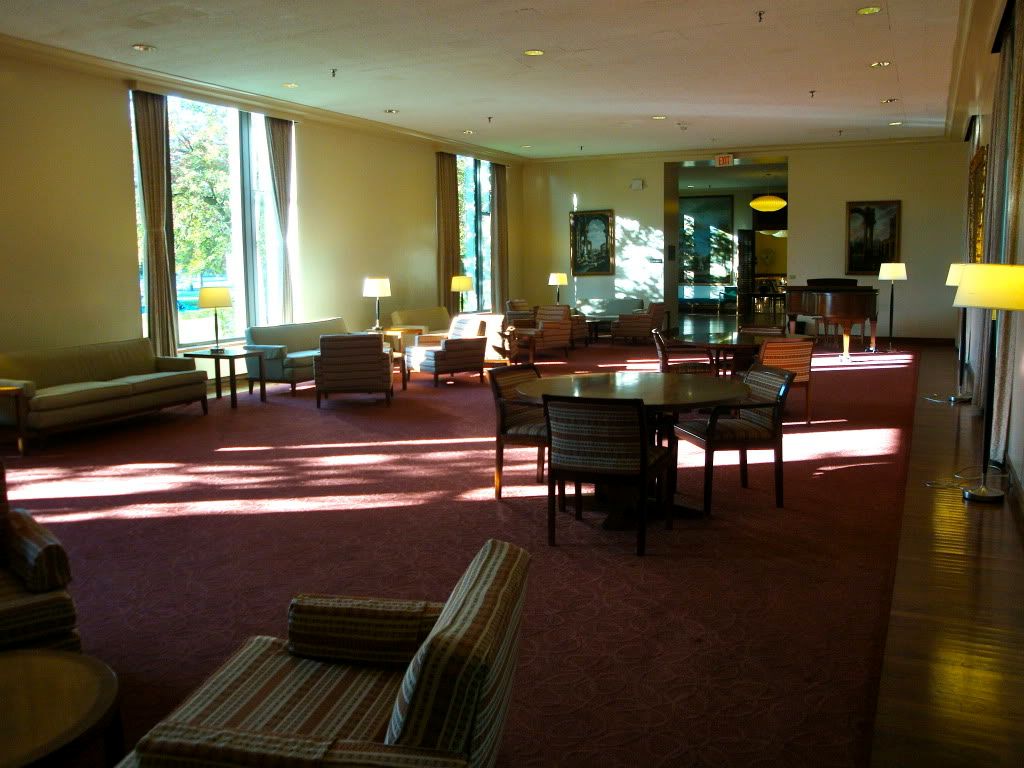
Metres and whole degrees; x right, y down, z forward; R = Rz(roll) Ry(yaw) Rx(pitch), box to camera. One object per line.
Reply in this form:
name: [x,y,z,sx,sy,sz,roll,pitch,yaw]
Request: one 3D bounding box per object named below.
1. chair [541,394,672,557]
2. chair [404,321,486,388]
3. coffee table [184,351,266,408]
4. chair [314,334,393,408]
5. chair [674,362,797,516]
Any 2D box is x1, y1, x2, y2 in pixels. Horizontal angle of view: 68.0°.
chair: [0.596,0.508,4.784,0.717,0.911,0.806,2,5,30]
chair: [-0.988,-0.510,11.171,0.919,0.900,0.919,-6,8,-38]
coffee table: [-3.552,-0.243,9.577,1.027,0.855,0.765,2,4,29]
chair: [-2.014,-0.200,9.676,0.937,0.867,0.964,0,2,-11]
chair: [1.567,0.380,5.492,0.809,0.921,0.835,0,5,9]
